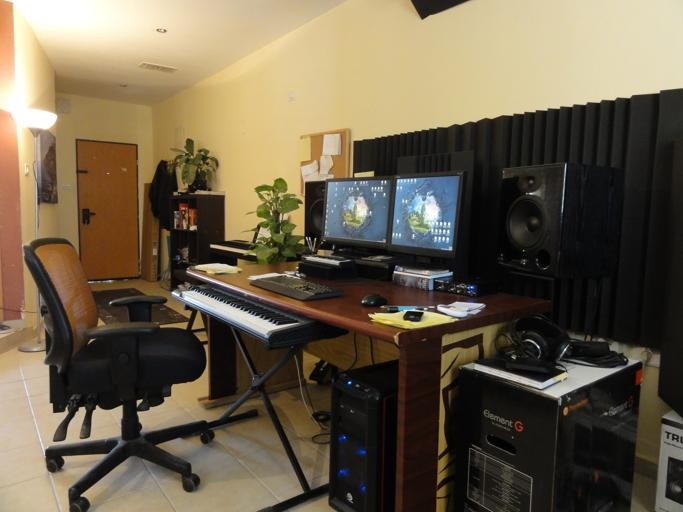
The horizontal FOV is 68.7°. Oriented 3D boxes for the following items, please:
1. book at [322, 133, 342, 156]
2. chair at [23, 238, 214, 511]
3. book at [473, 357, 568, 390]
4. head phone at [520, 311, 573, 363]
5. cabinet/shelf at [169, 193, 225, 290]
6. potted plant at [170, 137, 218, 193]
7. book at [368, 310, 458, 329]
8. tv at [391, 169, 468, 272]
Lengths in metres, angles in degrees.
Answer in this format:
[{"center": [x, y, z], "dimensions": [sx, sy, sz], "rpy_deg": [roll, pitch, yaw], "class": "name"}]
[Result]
[{"center": [-0.079, -1.031, 4.594], "dimensions": [0.031, 0.201, 0.209], "rpy_deg": [-1, 5, -38], "class": "book"}, {"center": [-1.031, 0.517, 3.382], "dimensions": [1.201, 1.793, 1.368], "rpy_deg": [0, 9, -6], "class": "chair"}, {"center": [0.781, 0.514, 2.192], "dimensions": [0.182, 0.036, 0.185], "rpy_deg": [11, 6, 40], "class": "book"}, {"center": [0.993, 0.387, 2.506], "dimensions": [0.242, 0.257, 0.242], "rpy_deg": [8, 20, 37], "class": "head phone"}, {"center": [-1.721, -0.233, 6.022], "dimensions": [0.407, 1.490, 1.258], "rpy_deg": [-1, 3, -30], "class": "cabinet/shelf"}, {"center": [-1.943, -1.191, 6.894], "dimensions": [0.693, 0.792, 0.760], "rpy_deg": [2, 2, -1], "class": "potted plant"}, {"center": [0.334, 0.277, 2.259], "dimensions": [0.393, 0.045, 0.202], "rpy_deg": [-5, 14, -21], "class": "book"}, {"center": [0.493, -0.207, 2.891], "dimensions": [0.219, 0.658, 0.545], "rpy_deg": [-3, 7, -44], "class": "tv"}]
